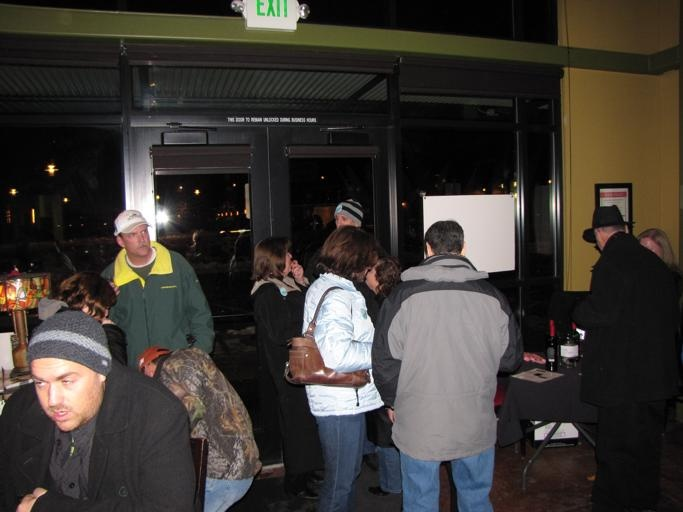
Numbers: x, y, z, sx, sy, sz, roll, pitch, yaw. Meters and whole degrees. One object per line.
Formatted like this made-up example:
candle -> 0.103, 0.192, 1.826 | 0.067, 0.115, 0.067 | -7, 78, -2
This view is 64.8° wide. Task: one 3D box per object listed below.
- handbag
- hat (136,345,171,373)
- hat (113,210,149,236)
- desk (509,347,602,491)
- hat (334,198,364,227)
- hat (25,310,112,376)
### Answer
handbag -> -0.111, 0.714, 3.361 | 0.395, 0.193, 0.312 | 14, -24, 2
hat -> -1.089, 0.594, 3.130 | 0.130, 0.092, 0.166 | -10, -14, -45
hat -> -1.652, -0.254, 4.149 | 0.163, 0.121, 0.220 | -16, -3, -29
desk -> 1.751, 1.324, 4.659 | 0.903, 0.965, 0.992 | 0, 3, -2
hat -> 0.074, -0.382, 4.837 | 0.216, 0.298, 0.277 | 9, -1, -6
hat -> -1.284, 0.409, 2.606 | 0.312, 0.291, 0.326 | 1, -28, -7
